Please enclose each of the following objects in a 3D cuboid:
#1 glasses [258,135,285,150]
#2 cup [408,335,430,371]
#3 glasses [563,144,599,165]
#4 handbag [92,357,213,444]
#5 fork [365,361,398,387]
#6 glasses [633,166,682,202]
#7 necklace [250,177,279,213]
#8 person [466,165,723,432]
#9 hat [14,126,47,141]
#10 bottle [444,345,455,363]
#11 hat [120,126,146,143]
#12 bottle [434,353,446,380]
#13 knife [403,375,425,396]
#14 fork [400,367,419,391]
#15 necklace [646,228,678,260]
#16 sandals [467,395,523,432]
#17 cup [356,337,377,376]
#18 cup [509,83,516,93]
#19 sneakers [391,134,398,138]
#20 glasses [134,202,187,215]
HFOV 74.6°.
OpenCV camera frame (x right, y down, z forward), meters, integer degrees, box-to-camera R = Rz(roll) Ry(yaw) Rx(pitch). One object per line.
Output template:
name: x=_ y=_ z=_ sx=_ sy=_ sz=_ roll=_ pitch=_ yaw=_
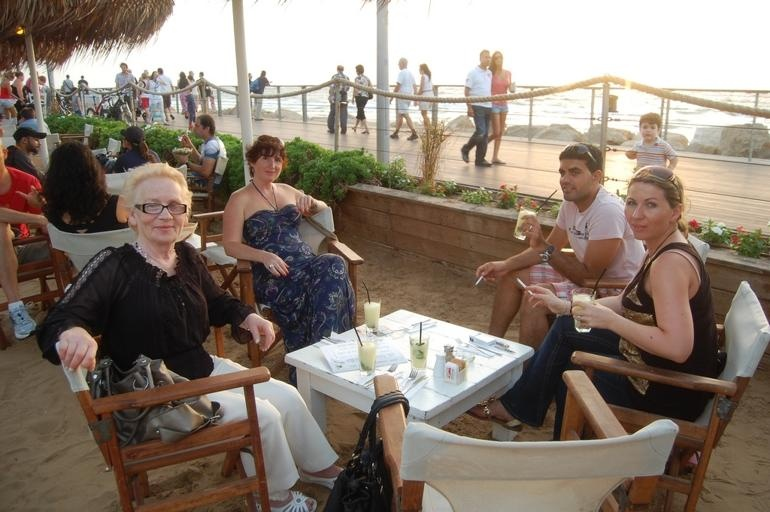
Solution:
glasses: x=-0.994 y=-1.002 z=4.534 sx=0.141 sy=0.064 sz=0.182 roll=17 pitch=6 yaw=33
cup: x=0.213 y=0.589 z=3.153 sx=0.108 sy=0.220 sz=0.098 roll=2 pitch=12 yaw=3
glasses: x=1.482 y=-0.791 z=3.825 sx=0.275 sy=0.137 sz=0.110 roll=6 pitch=12 yaw=20
handbag: x=-1.199 y=0.737 z=2.616 sx=0.667 sy=0.412 sz=0.319 roll=-2 pitch=12 yaw=-17
fork: x=0.010 y=0.707 z=3.240 sx=0.073 sy=0.070 sz=0.627 roll=6 pitch=7 yaw=16
glasses: x=1.552 y=-0.422 z=2.821 sx=0.223 sy=0.224 sz=0.068 roll=1 pitch=9 yaw=20
necklace: x=-1.090 y=-0.545 z=4.661 sx=0.127 sy=0.438 sz=0.066 roll=-38 pitch=15 yaw=0
person: x=1.367 y=0.352 z=2.998 sx=1.120 sy=1.760 sz=0.606 roll=10 pitch=15 yaw=34
hat: x=-4.370 y=-1.513 z=6.323 sx=0.415 sy=0.145 sz=0.265 roll=-6 pitch=10 yaw=-39
bottle: x=0.393 y=0.584 z=3.065 sx=0.086 sy=0.129 sz=0.084 roll=-1 pitch=7 yaw=0
hat: x=-3.134 y=-1.551 z=6.289 sx=0.264 sy=0.146 sz=0.199 roll=36 pitch=41 yaw=23
bottle: x=0.341 y=0.665 z=3.084 sx=0.071 sy=0.152 sz=0.052 roll=4 pitch=13 yaw=12
knife: x=0.174 y=0.767 z=3.000 sx=0.031 sy=0.032 sz=0.280 roll=16 pitch=28 yaw=25
fork: x=0.167 y=0.716 z=3.104 sx=0.041 sy=0.043 sz=0.301 roll=6 pitch=23 yaw=25
necklace: x=1.563 y=-0.046 z=2.850 sx=0.147 sy=0.098 sz=0.186 roll=10 pitch=43 yaw=12
sandals: x=0.747 y=1.069 z=3.438 sx=0.423 sy=0.115 sz=0.197 roll=22 pitch=25 yaw=31
cup: x=-0.106 y=0.606 z=3.149 sx=0.112 sy=0.202 sz=0.163 roll=1 pitch=12 yaw=-3
cup: x=2.134 y=-2.847 z=8.465 sx=0.083 sy=0.168 sz=0.473 roll=4 pitch=11 yaw=12
sneakers: x=0.221 y=-2.565 z=10.682 sx=0.114 sy=0.116 sz=0.276 roll=-5 pitch=16 yaw=-21
glasses: x=-1.282 y=-0.282 z=2.913 sx=0.281 sy=0.073 sz=0.088 roll=-3 pitch=12 yaw=-24
